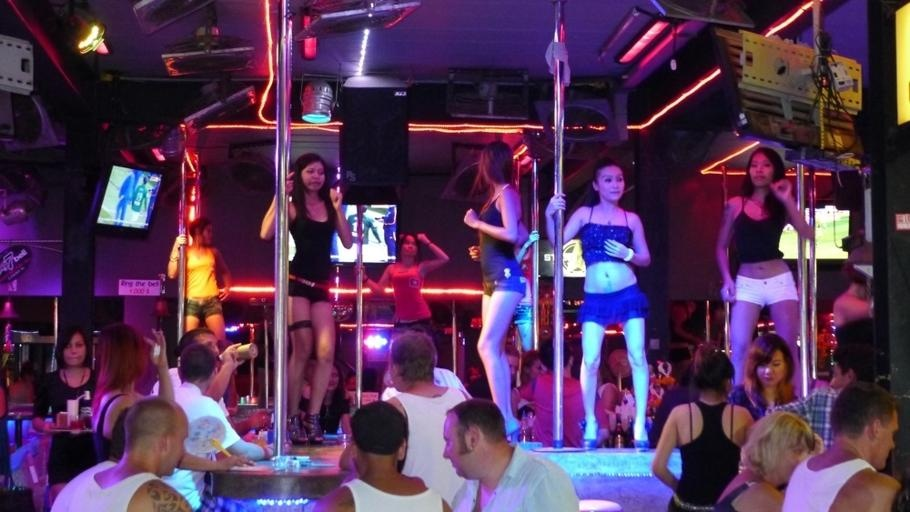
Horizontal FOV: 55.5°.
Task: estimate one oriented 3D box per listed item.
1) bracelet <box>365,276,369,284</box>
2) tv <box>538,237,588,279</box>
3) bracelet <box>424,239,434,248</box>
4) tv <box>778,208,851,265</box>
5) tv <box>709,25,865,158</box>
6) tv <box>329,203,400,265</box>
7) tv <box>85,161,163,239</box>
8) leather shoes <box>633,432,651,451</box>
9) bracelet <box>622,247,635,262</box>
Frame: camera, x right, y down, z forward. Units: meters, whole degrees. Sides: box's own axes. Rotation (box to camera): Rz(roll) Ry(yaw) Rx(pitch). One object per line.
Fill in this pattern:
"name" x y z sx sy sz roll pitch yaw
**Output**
"bracelet" -1.335 0.354 12.998 0.098 0.097 0.093 -1 -9 3
"tv" 1.662 0.025 13.299 0.785 0.547 0.014 -1 3 6
"bracelet" -0.404 -0.223 13.495 0.132 0.037 0.142 36 -11 27
"tv" 5.303 -0.327 12.764 1.052 0.955 0.253 -3 9 -5
"tv" 3.786 -1.906 9.689 1.877 1.237 0.794 9 -19 -20
"tv" -1.507 -0.329 14.448 1.274 1.174 0.164 -1 -1 -5
"tv" -5.119 -0.883 13.271 0.166 1.175 1.226 9 6 36
"leather shoes" 1.938 1.932 8.953 0.166 0.126 0.180 1 -12 -5
"bracelet" 1.846 -0.019 9.161 0.098 0.136 0.146 -4 -13 23
